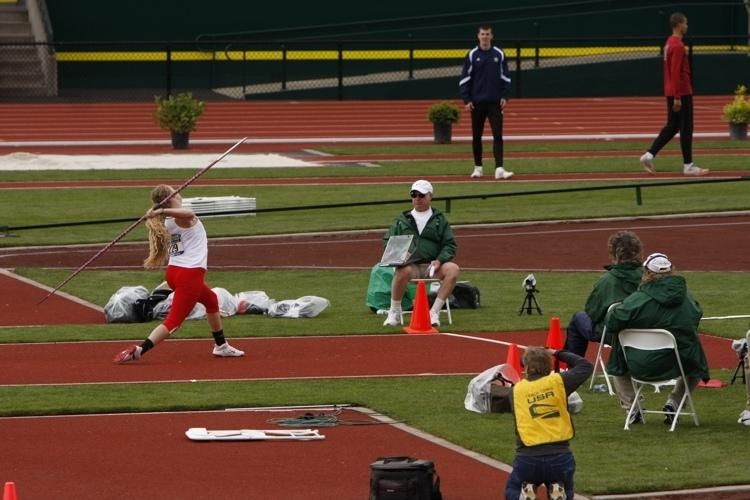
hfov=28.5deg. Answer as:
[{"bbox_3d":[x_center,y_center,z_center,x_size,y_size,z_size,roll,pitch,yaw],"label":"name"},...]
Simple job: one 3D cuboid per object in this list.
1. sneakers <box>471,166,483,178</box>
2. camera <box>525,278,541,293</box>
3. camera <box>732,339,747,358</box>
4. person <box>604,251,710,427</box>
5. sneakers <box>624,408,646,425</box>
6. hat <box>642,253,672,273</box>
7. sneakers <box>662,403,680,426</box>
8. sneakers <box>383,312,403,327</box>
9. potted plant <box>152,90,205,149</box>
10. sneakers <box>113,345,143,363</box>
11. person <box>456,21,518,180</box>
[{"bbox_3d":[2.411,-1.814,35.252,0.177,0.157,0.443,1,-1,16],"label":"sneakers"},{"bbox_3d":[2.631,0.598,25.164,0.292,0.263,0.333,-1,-4,1],"label":"camera"},{"bbox_3d":[5.358,1.443,21.760,0.293,0.267,0.297,-2,-9,3],"label":"camera"},{"bbox_3d":[4.077,1.297,21.447,1.451,2.434,0.635,-2,10,7],"label":"person"},{"bbox_3d":[3.764,2.402,21.476,0.313,0.242,0.211,7,-9,-10],"label":"sneakers"},{"bbox_3d":[4.079,0.191,21.516,0.316,0.127,0.345,0,13,-2],"label":"hat"},{"bbox_3d":[4.291,2.382,21.481,0.153,0.333,0.163,4,23,13],"label":"sneakers"},{"bbox_3d":[0.284,1.179,25.366,0.320,0.237,0.244,-2,8,0],"label":"sneakers"},{"bbox_3d":[-5.867,-3.847,44.125,2.396,1.877,1.977,0,2,-7],"label":"potted plant"},{"bbox_3d":[-3.906,1.641,23.547,0.526,0.189,0.222,-26,-38,19],"label":"sneakers"},{"bbox_3d":[2.510,-3.329,33.845,1.095,3.491,1.422,-3,9,3],"label":"person"}]
